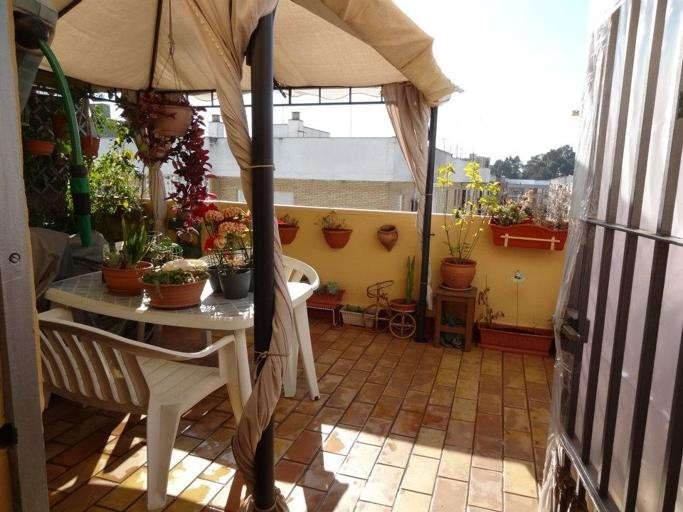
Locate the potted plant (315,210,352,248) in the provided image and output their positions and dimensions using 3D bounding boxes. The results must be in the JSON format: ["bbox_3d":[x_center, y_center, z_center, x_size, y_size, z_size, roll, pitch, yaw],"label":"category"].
[{"bbox_3d":[-0.053,-0.306,5.158,0.330,0.271,0.355,0,9,-1],"label":"potted plant"}]

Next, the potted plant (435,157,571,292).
[{"bbox_3d":[1.410,-0.348,4.615,1.213,0.516,0.937,5,22,12],"label":"potted plant"}]

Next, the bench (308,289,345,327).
[{"bbox_3d":[-0.149,0.497,5.232,0.370,0.358,0.329,2,5,16],"label":"bench"}]

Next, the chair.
[{"bbox_3d":[-1.114,0.735,2.829,1.291,1.023,0.760,5,14,12],"label":"chair"}]

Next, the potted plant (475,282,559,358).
[{"bbox_3d":[1.669,0.599,4.539,0.562,0.626,0.272,2,5,17],"label":"potted plant"}]

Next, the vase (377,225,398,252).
[{"bbox_3d":[0.472,-0.220,5.030,0.222,0.327,0.220,-6,16,-7],"label":"vase"}]

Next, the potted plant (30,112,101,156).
[{"bbox_3d":[-2.841,-1.305,5.185,0.559,0.453,1.196,0,15,-5],"label":"potted plant"}]

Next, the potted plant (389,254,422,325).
[{"bbox_3d":[0.640,0.363,4.892,0.268,0.657,0.451,3,14,6],"label":"potted plant"}]

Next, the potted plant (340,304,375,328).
[{"bbox_3d":[0.192,0.636,5.107,0.280,0.126,0.199,8,12,22],"label":"potted plant"}]

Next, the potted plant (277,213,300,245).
[{"bbox_3d":[-0.567,-0.303,5.252,0.277,0.236,0.298,-1,8,-2],"label":"potted plant"}]

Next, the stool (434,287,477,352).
[{"bbox_3d":[1.074,0.553,4.832,0.490,0.741,0.528,2,6,19],"label":"stool"}]

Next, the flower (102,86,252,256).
[{"bbox_3d":[-1.563,-0.609,4.435,0.752,1.800,2.297,-5,16,-24],"label":"flower"}]
